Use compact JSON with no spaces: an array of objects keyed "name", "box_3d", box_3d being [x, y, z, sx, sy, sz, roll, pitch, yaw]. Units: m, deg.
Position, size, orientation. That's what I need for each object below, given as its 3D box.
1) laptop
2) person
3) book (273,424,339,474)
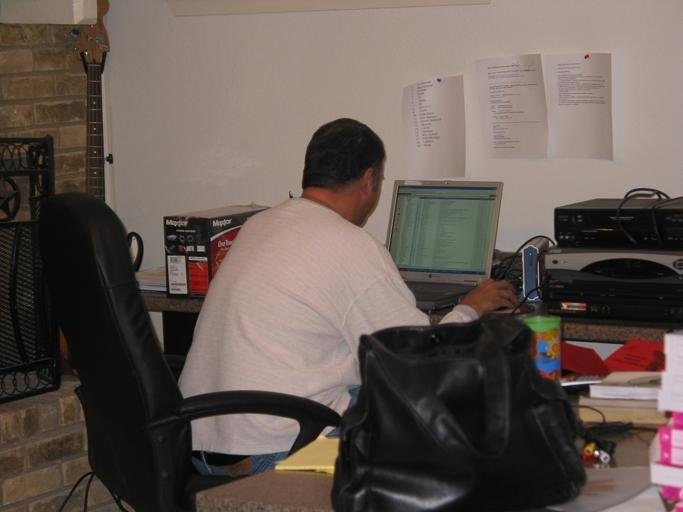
[{"name":"laptop","box_3d":[0.387,-0.091,2.388,0.452,0.357,0.416,6,14,28]},{"name":"person","box_3d":[-0.094,-0.010,2.044,0.940,1.148,0.788,-13,23,-40]},{"name":"book","box_3d":[-0.060,0.366,1.179,0.096,0.068,0.033,-8,-4,-19]}]
